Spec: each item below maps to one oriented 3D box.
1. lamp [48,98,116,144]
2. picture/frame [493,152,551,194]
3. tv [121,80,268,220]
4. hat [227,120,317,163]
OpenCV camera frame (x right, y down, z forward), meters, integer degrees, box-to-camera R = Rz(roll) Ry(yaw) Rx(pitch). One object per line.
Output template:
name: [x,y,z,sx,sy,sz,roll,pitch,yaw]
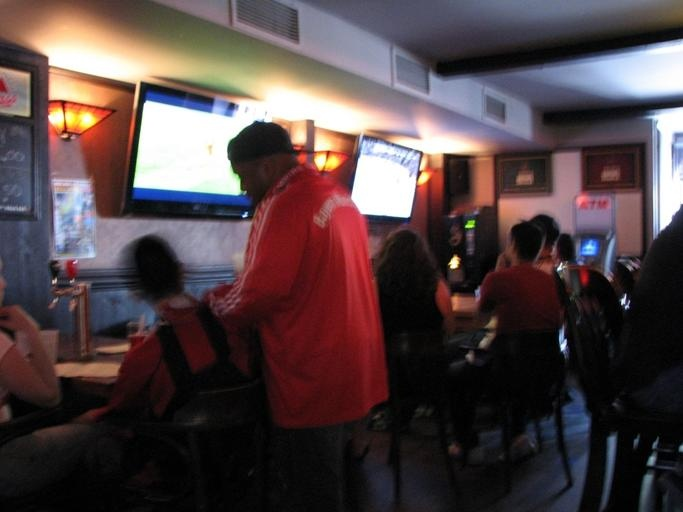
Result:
lamp: [-1.875,-0.906,3.561,0.481,0.226,0.453,3,6,24]
picture/frame: [2.676,-1.234,7.615,0.590,0.517,0.081,1,-1,14]
tv: [-1.119,-0.789,3.727,0.119,0.812,1.144,6,5,35]
hat: [-0.294,-0.429,2.019,0.203,0.180,0.157,1,7,27]
